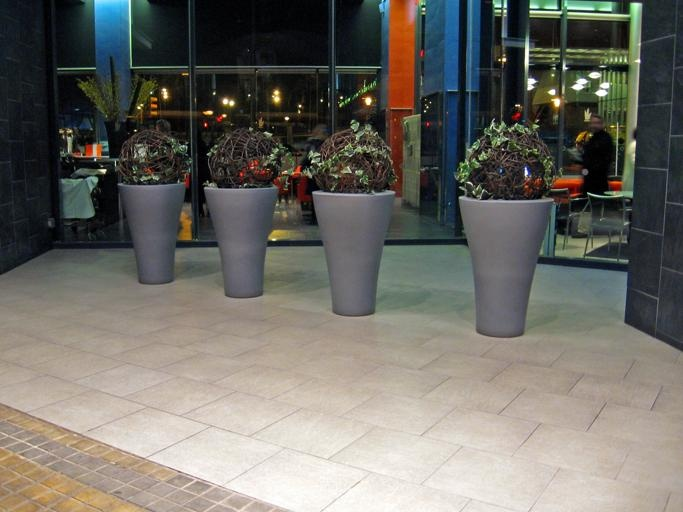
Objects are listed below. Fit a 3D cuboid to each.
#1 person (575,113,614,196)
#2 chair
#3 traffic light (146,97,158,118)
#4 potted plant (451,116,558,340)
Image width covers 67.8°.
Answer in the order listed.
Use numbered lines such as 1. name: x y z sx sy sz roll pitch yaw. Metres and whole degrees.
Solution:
1. person: 3.520 -1.400 6.976 0.374 1.072 0.172 5 15 25
2. chair: 3.485 -0.518 7.452 1.059 1.467 0.918 -10 15 -44
3. traffic light: -3.026 -2.384 8.106 0.211 0.350 0.062 0 14 9
4. potted plant: 1.364 -0.207 4.291 0.770 1.791 0.472 1 14 12
